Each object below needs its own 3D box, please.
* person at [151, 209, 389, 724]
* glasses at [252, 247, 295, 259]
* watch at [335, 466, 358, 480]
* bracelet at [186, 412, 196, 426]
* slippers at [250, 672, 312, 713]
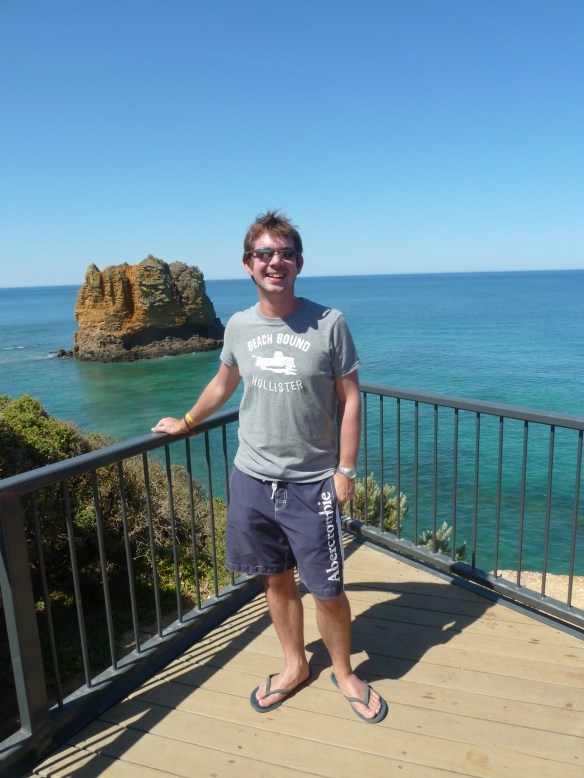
[{"bbox_3d":[-0.044,0.303,2.436,0.719,1.949,0.367,0,6,43],"label":"person"},{"bbox_3d":[-0.065,-0.490,2.228,0.148,0.053,0.038,-4,4,-1],"label":"glasses"},{"bbox_3d":[0.201,0.316,2.264,0.074,0.055,0.059,-4,4,-6],"label":"watch"},{"bbox_3d":[-0.447,0.137,2.707,0.054,0.038,0.052,0,2,-1],"label":"bracelet"},{"bbox_3d":[-0.057,1.241,2.497,0.185,0.032,0.089,-1,8,-43],"label":"slippers"}]
